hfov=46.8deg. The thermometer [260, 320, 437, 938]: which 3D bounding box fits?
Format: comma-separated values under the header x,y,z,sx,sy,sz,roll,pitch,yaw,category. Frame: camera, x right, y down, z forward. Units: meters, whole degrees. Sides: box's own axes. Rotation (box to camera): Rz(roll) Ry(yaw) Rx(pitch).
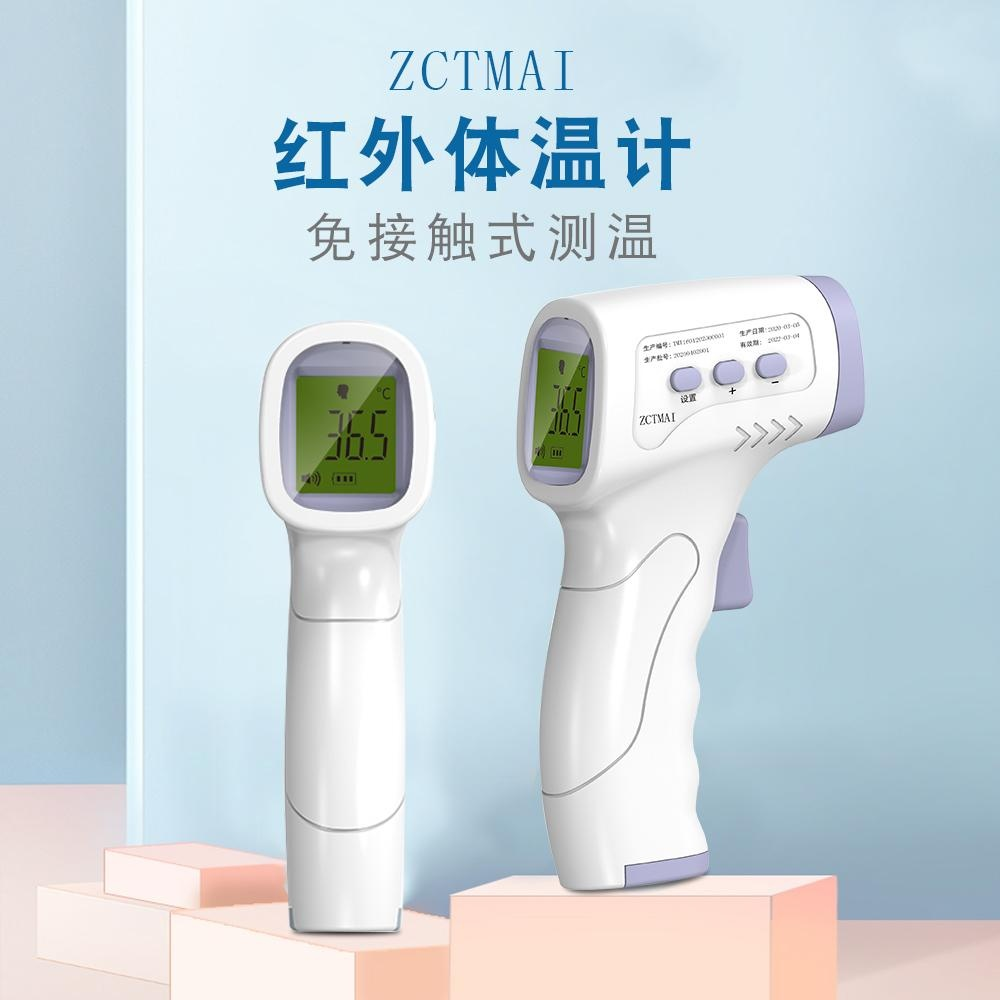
x,y,z,sx,sy,sz,roll,pitch,yaw,category
-0.128,0.108,0.942,0.138,0.490,0.104,1,-8,-3,thermometer
